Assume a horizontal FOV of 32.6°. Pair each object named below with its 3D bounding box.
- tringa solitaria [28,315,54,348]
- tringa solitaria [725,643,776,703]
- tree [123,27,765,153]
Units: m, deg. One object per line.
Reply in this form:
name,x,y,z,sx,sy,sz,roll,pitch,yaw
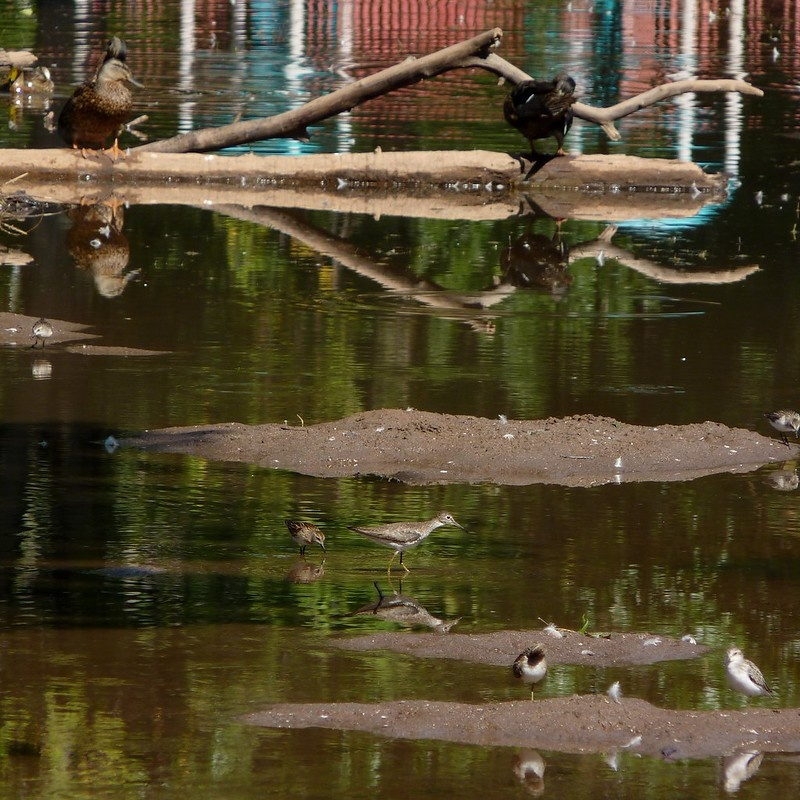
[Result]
tringa solitaria,-3.369,-0.644,12.715,0.221,0.230,0.357,5,23,-4
tringa solitaria,1.491,1.166,5.822,0.194,0.238,0.239,1,2,14
tree,0.154,-4.830,22.167,9.190,1.557,3.014,1,2,16
